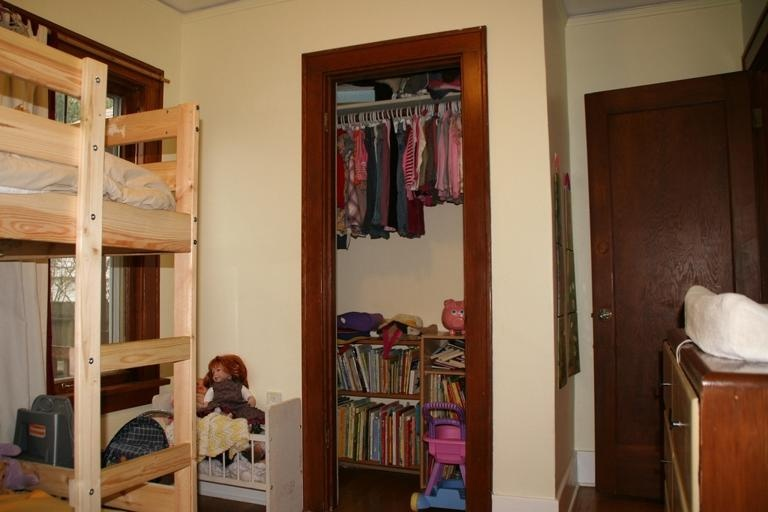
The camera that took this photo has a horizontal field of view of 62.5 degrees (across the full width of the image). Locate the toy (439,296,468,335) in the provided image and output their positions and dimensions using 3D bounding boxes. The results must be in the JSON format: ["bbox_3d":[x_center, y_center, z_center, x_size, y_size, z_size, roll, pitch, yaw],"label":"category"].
[{"bbox_3d":[0.475,0.398,4.279,0.184,0.222,0.217,0,-26,4],"label":"toy"}]

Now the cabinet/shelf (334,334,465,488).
[{"bbox_3d":[0.126,1.062,4.302,0.972,0.884,0.409,-2,-7,24],"label":"cabinet/shelf"}]

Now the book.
[{"bbox_3d":[0.117,1.017,4.312,0.989,0.944,0.391,-1,-4,24],"label":"book"}]
